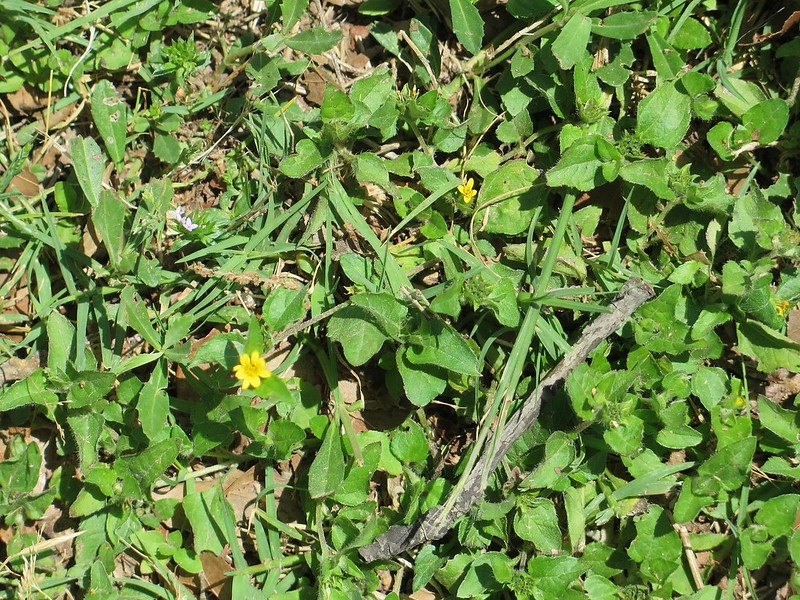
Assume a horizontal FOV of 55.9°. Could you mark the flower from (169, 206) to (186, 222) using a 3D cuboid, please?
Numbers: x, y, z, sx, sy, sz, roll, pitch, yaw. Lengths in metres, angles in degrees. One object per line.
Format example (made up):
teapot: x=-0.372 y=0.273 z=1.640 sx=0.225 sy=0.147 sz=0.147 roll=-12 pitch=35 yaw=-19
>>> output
flower: x=-1.161 y=-0.449 z=3.952 sx=0.091 sy=0.041 sz=0.100 roll=-20 pitch=22 yaw=9

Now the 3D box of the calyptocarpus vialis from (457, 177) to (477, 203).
calyptocarpus vialis: x=0.344 y=-0.559 z=3.822 sx=0.112 sy=0.044 sz=0.129 roll=-29 pitch=98 yaw=-3
